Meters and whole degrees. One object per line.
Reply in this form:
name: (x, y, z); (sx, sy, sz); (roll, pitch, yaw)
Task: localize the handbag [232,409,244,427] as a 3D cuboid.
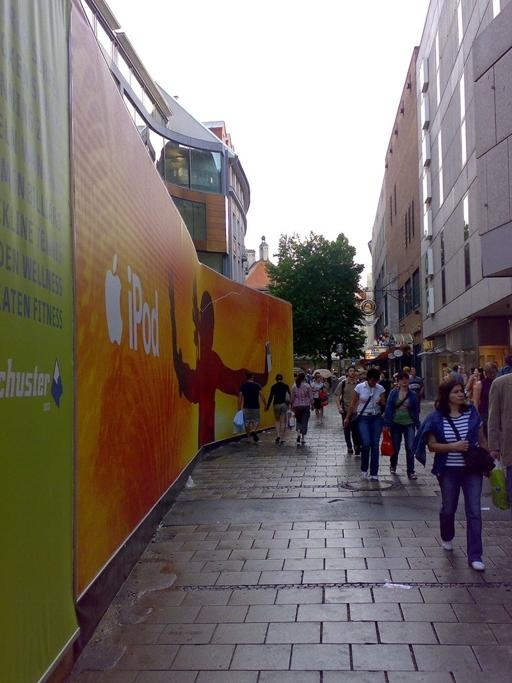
handbag: (-0.523, 2.326, 13.985); (0.317, 0.516, 0.241); (2, -5, -23)

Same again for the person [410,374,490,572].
person: (2.000, 1.241, 4.672); (0.708, 1.742, 0.816); (3, -5, -34)

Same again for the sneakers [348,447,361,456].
sneakers: (2.559, 2.865, 12.172); (0.119, 0.236, 0.474); (0, -10, -1)

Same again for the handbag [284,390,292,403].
handbag: (0.988, 1.712, 14.544); (0.143, 0.463, 0.258); (1, -44, -3)

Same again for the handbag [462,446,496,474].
handbag: (2.175, 1.160, 4.493); (0.301, 0.292, 0.183); (1, -5, -17)

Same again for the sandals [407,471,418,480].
sandals: (2.975, 2.555, 8.818); (0.069, 0.132, 0.249); (-1, -15, 0)

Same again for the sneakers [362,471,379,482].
sneakers: (2.169, 2.559, 8.841); (0.120, 0.234, 0.472); (1, -15, 0)

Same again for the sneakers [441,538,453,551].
sneakers: (1.983, 2.090, 4.811); (0.045, 0.097, 0.194); (-1, -16, 5)

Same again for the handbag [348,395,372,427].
handbag: (2.081, 1.453, 9.394); (0.478, 0.836, 0.399); (4, 9, 4)
